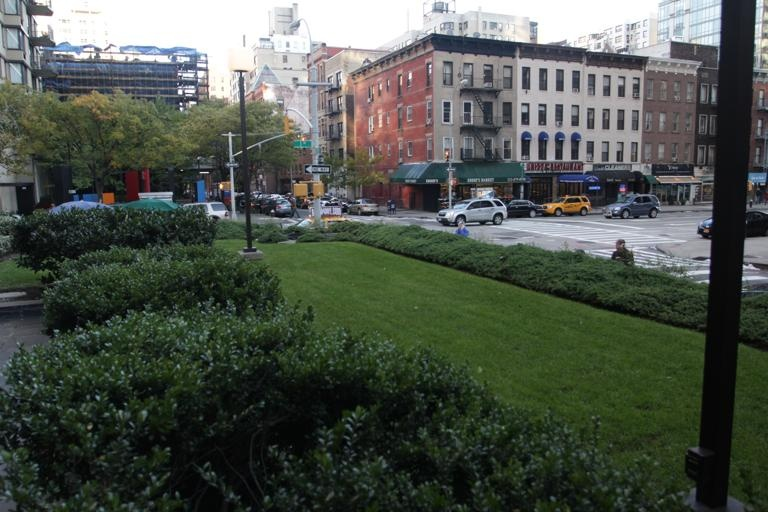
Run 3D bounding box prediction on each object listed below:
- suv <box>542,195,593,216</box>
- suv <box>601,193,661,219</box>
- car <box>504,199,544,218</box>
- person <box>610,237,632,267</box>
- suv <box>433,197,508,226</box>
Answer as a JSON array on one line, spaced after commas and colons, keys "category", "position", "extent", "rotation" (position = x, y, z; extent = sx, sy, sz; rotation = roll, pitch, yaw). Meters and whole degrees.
[{"category": "suv", "position": [14.848, -4.050, 54.485], "extent": [3.879, 1.874, 1.808], "rotation": [0, 5, -20]}, {"category": "suv", "position": [18.610, -3.660, 50.201], "extent": [3.760, 1.736, 1.978], "rotation": [-1, 3, -16]}, {"category": "car", "position": [10.975, -3.698, 51.975], "extent": [3.485, 1.109, 1.334], "rotation": [-1, 3, -28]}, {"category": "person", "position": [8.087, -0.125, 22.552], "extent": [0.577, 1.042, 0.663], "rotation": [-4, 3, -3]}, {"category": "suv", "position": [5.953, -2.900, 44.429], "extent": [4.581, 1.793, 1.979], "rotation": [-1, 5, -29]}]
